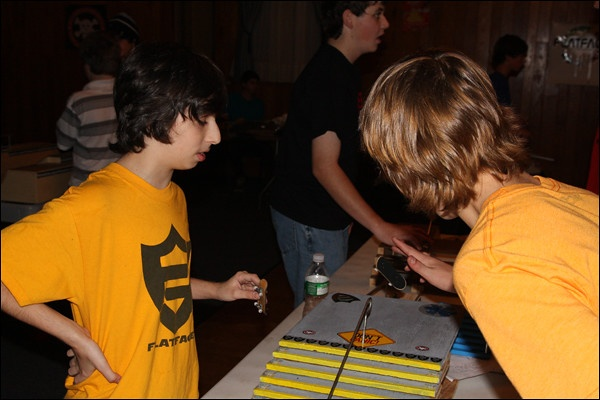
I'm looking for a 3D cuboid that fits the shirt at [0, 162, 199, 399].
[{"bbox_3d":[-0.499,0.281,1.355,0.322,0.764,0.541,6,19,26],"label":"shirt"}]

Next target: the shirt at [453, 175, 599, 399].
[{"bbox_3d":[0.502,0.176,0.977,0.309,0.367,0.431,4,18,19],"label":"shirt"}]
